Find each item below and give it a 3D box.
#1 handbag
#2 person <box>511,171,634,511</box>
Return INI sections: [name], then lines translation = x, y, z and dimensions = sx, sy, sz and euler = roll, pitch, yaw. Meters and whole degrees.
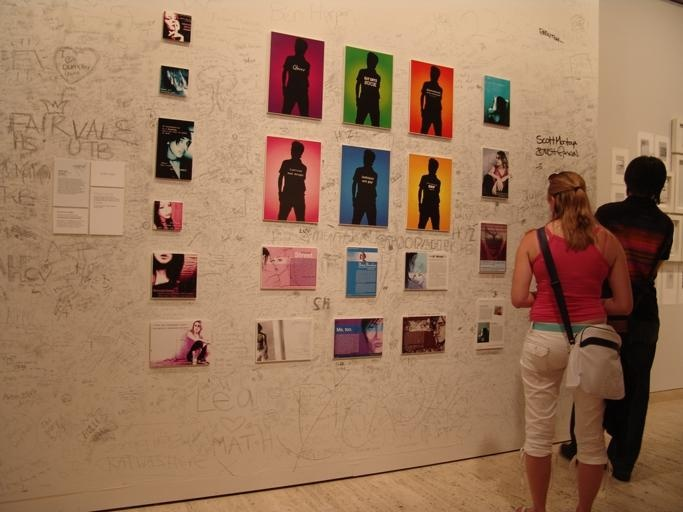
[handbag]
translation = 1.619, 0.658, 3.495
dimensions = 0.350, 0.448, 0.248
euler = 10, -6, -4
[person]
translation = 1.474, 0.618, 3.672
dimensions = 0.717, 2.314, 0.654
euler = 8, 14, 27
